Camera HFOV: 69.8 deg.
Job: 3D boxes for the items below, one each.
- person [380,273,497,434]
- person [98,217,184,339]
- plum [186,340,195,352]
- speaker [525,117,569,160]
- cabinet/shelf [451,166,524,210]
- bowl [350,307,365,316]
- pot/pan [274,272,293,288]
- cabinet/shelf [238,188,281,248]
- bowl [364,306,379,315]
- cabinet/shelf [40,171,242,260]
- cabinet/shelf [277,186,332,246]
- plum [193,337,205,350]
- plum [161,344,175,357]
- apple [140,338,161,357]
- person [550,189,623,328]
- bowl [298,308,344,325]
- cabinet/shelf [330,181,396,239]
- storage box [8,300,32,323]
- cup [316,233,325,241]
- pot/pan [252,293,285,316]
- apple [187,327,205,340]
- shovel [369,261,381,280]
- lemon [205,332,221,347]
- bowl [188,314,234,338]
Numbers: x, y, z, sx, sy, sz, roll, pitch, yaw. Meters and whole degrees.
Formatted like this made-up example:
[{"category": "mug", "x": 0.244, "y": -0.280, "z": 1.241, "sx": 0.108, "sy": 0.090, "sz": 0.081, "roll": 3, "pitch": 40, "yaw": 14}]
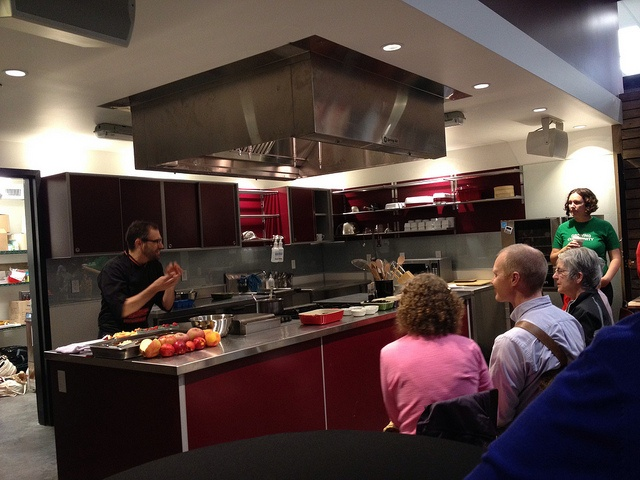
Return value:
[{"category": "person", "x": 0.560, "y": 0.608, "z": 2.360, "sx": 0.624, "sy": 0.804, "sz": 0.603, "roll": 2, "pitch": -8, "yaw": -42}, {"category": "person", "x": -1.323, "y": 0.287, "z": 3.426, "sx": 0.563, "sy": 0.926, "sz": 0.697, "roll": -6, "pitch": 2, "yaw": -38}, {"category": "plum", "x": -0.780, "y": 0.651, "z": 2.768, "sx": 0.056, "sy": 0.057, "sz": 0.054, "roll": 19, "pitch": 19, "yaw": -17}, {"category": "speaker", "x": 2.708, "y": -1.237, "z": 5.540, "sx": 0.407, "sy": 0.448, "sz": 0.489, "roll": 5, "pitch": 8, "yaw": -3}, {"category": "cabinet/shelf", "x": 2.406, "y": -0.753, "z": 6.727, "sx": 1.011, "sy": 0.430, "sz": 0.471, "roll": -4, "pitch": 2, "yaw": 23}, {"category": "bowl", "x": 0.309, "y": 0.610, "z": 3.799, "sx": 0.129, "sy": 0.063, "sz": 0.089, "roll": -4, "pitch": 2, "yaw": 5}, {"category": "pot/pan", "x": -0.592, "y": 0.659, "z": 7.346, "sx": 0.206, "sy": 0.195, "sz": 0.261, "roll": 0, "pitch": 1, "yaw": 7}, {"category": "cabinet/shelf", "x": -1.002, "y": -0.368, "z": 7.527, "sx": 0.817, "sy": 0.804, "sz": 0.274, "roll": -5, "pitch": 2, "yaw": -32}, {"category": "bowl", "x": 0.433, "y": 0.611, "z": 3.898, "sx": 0.053, "sy": 0.065, "sz": 0.181, "roll": -3, "pitch": 2, "yaw": 36}, {"category": "cabinet/shelf", "x": -2.133, "y": -0.316, "z": 5.916, "sx": 0.598, "sy": 0.877, "sz": 2.351, "roll": -3, "pitch": 1, "yaw": 36}, {"category": "cabinet/shelf", "x": -0.249, "y": -0.393, "z": 7.803, "sx": 0.387, "sy": 0.947, "sz": 1.071, "roll": -2, "pitch": 1, "yaw": 36}, {"category": "plum", "x": -0.741, "y": 0.648, "z": 2.825, "sx": 0.038, "sy": 0.073, "sz": 0.088, "roll": -3, "pitch": 2, "yaw": 38}, {"category": "plum", "x": -0.874, "y": 0.656, "z": 2.674, "sx": 0.073, "sy": 0.072, "sz": 0.074, "roll": 2, "pitch": -20, "yaw": -7}, {"category": "apple", "x": -1.008, "y": 0.646, "z": 2.682, "sx": 0.162, "sy": 0.107, "sz": 0.089, "roll": -3, "pitch": 2, "yaw": 34}, {"category": "person", "x": 2.797, "y": 0.410, "z": 4.920, "sx": 0.563, "sy": 1.878, "sz": 0.643, "roll": -7, "pitch": 7, "yaw": -43}, {"category": "bowl", "x": 0.016, "y": 0.603, "z": 3.540, "sx": 0.354, "sy": 0.105, "sz": 0.207, "roll": -6, "pitch": 2, "yaw": -41}, {"category": "cabinet/shelf", "x": 0.714, "y": -0.476, "z": 7.923, "sx": 1.230, "sy": 0.749, "sz": 0.460, "roll": -3, "pitch": 2, "yaw": 43}, {"category": "storage box", "x": -4.554, "y": 1.126, "z": 7.036, "sx": 0.561, "sy": 0.413, "sz": 0.231, "roll": -3, "pitch": 2, "yaw": 45}, {"category": "cup", "x": -0.001, "y": -0.022, "z": 7.840, "sx": 0.088, "sy": 0.098, "sz": 0.136, "roll": -4, "pitch": -9, "yaw": 15}, {"category": "pot/pan", "x": -0.459, "y": 0.563, "z": 3.901, "sx": 0.142, "sy": 0.170, "sz": 0.241, "roll": 0, "pitch": -1, "yaw": -30}, {"category": "apple", "x": -0.775, "y": 0.588, "z": 2.840, "sx": 0.066, "sy": 0.036, "sz": 0.068, "roll": 8, "pitch": 8, "yaw": 26}, {"category": "shovel", "x": 0.539, "y": 0.319, "z": 4.488, "sx": 0.076, "sy": 0.249, "sz": 0.068, "roll": -5, "pitch": -1, "yaw": 10}, {"category": "lemon", "x": -0.665, "y": 0.629, "z": 2.859, "sx": 0.079, "sy": 0.079, "sz": 0.085, "roll": 1, "pitch": -11, "yaw": -23}, {"category": "bowl", "x": -0.715, "y": 0.566, "z": 3.088, "sx": 0.195, "sy": 0.093, "sz": 0.179, "roll": -4, "pitch": -2, "yaw": 0}]
